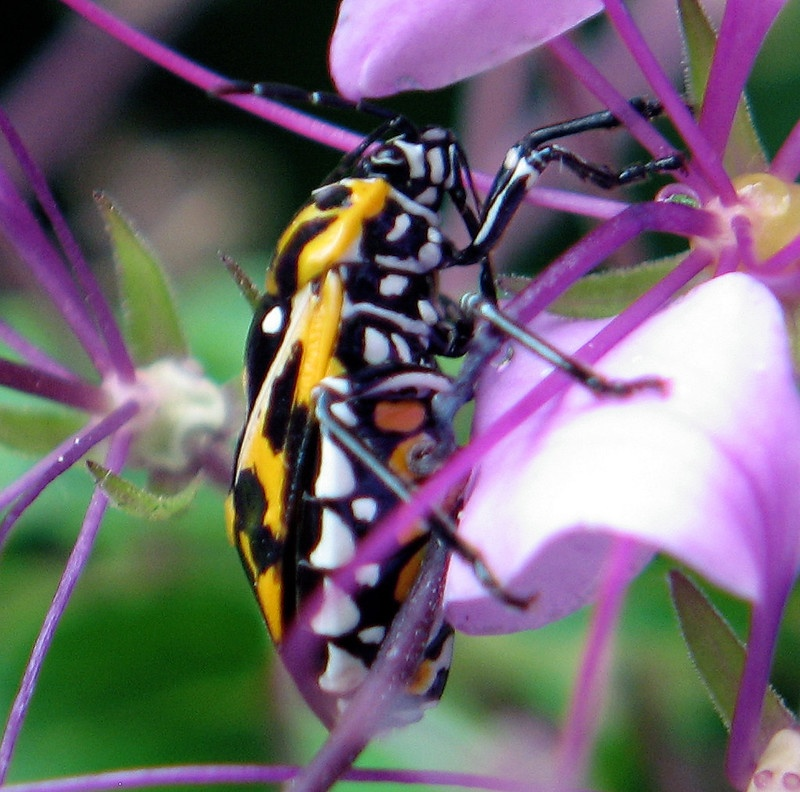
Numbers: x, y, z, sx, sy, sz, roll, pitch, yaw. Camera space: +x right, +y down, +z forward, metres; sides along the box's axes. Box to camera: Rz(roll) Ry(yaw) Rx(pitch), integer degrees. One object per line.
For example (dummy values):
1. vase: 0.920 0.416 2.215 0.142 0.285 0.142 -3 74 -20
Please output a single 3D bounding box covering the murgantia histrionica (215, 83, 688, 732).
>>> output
1. murgantia histrionica: -0.039 -0.004 0.673 0.114 0.432 0.289 29 -31 -34
